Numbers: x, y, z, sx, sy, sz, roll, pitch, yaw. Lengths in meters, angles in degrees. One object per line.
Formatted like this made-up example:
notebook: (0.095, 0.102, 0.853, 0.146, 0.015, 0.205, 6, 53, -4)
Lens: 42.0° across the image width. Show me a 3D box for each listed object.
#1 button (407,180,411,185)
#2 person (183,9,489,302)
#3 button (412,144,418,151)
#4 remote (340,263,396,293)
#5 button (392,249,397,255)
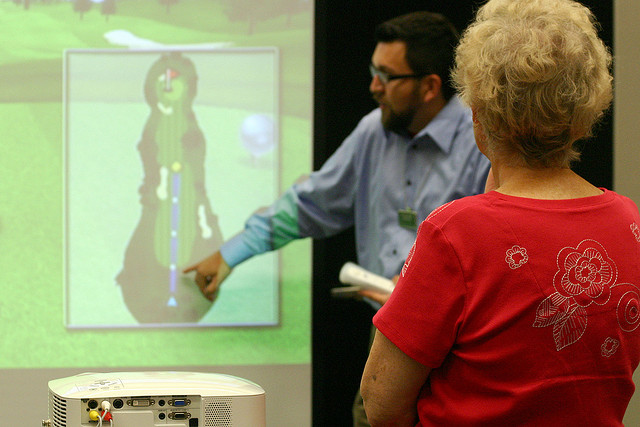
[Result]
button: (0.362, -0.129, 3.465, 0.019, 0.019, 0.005, 9, 7, 26)
person: (0.037, -0.277, 3.309, 0.942, 1.760, 0.861, -4, 11, -27)
button: (0.387, -0.275, 3.451, 0.024, 0.024, 0.006, -2, -4, 14)
remote: (0.181, 0.274, 3.460, 0.242, 0.085, 0.090, 23, -31, 19)
button: (0.305, 0.162, 3.475, 0.005, 0.015, 0.015, -4, 17, -43)
